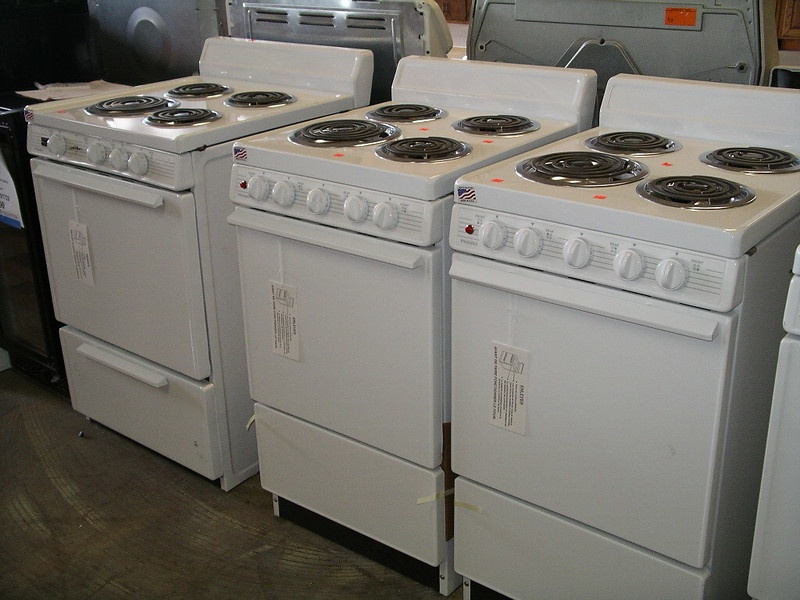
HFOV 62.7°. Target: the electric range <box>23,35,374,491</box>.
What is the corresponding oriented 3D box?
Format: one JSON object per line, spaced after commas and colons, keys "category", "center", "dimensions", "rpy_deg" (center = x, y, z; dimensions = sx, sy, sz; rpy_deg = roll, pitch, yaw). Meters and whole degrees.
{"category": "electric range", "center": [-0.772, -0.246, 2.726], "dimensions": [0.987, 1.436, 0.983], "rpy_deg": [18, 29, 35]}
